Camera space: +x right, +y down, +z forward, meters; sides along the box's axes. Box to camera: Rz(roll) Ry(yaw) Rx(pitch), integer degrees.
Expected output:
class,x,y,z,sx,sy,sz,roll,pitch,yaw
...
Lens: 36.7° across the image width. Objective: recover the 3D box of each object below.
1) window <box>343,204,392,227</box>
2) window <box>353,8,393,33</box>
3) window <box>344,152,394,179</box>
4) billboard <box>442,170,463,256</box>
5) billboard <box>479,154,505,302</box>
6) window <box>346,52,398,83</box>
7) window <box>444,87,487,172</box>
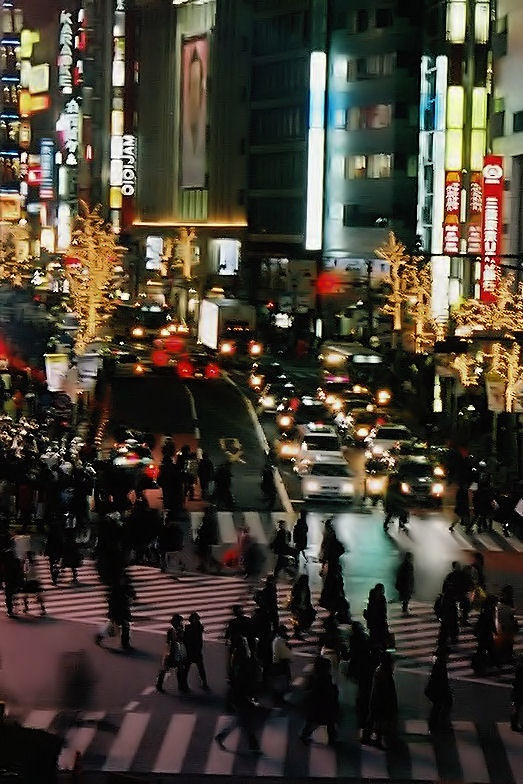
class,x,y,z,sx,sy,sz,roll,pitch,yaw
window,10.561,-18.135,81.475,5.375,2.660,0.760,6,8,39
window,11.454,-38.467,81.230,4.369,2.681,0.695,6,8,39
window,11.118,-23.057,80.816,5.286,2.585,0.398,6,8,38
billboard,13.280,-12.524,54.836,1.153,5.503,2.420,2,7,12
billboard,13.921,-10.105,47.813,1.305,9.212,5.331,3,7,16
window,11.231,-33.138,81.815,5.086,3.191,2.764,-4,-10,21
window,14.009,-18.086,54.043,2.702,5.766,1.609,2,7,12
